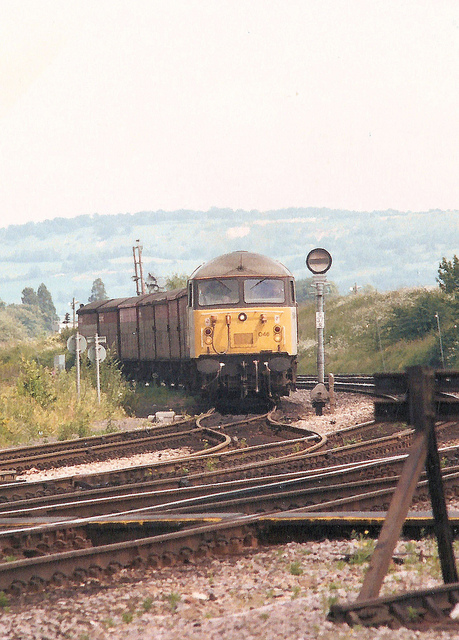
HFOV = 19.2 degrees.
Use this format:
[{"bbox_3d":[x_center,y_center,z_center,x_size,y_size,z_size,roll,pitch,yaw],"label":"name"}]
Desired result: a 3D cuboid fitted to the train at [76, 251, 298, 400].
[{"bbox_3d":[-1.448,0.101,26.737,1.054,2.066,7.243,2,-4,-28],"label":"train"}]
